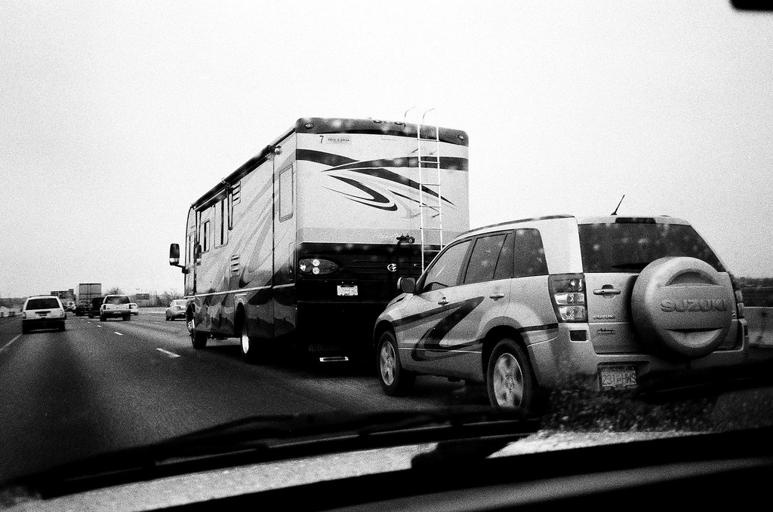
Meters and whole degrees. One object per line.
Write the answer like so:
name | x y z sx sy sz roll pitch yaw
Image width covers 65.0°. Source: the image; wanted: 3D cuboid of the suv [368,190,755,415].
suv | 1.777 0.583 7.540 1.755 1.572 3.751 2 -1 -25

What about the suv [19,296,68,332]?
suv | -17.298 2.868 30.643 1.804 1.802 1.992 0 -4 -35
